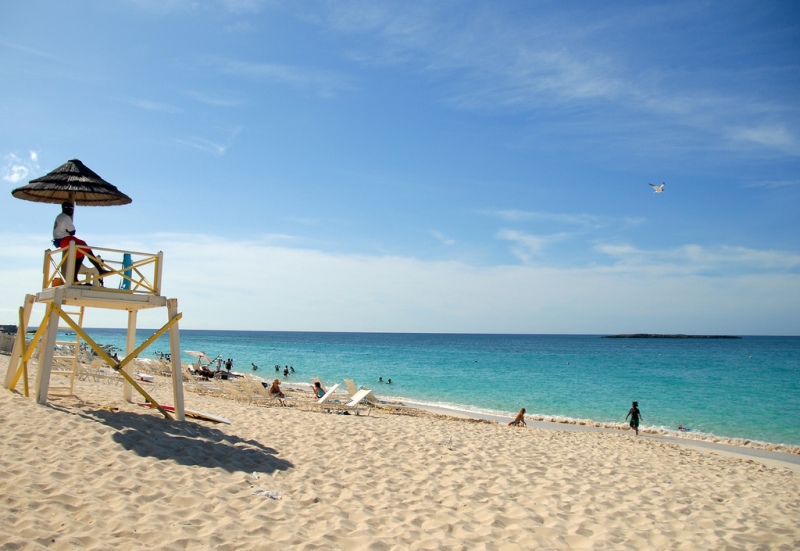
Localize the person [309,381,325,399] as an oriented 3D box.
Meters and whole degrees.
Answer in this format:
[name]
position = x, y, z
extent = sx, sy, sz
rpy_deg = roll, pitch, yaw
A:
[person]
position = -4.232, 5.896, 28.621
extent = 0.610, 0.894, 1.295
rpy_deg = 5, -7, -7
